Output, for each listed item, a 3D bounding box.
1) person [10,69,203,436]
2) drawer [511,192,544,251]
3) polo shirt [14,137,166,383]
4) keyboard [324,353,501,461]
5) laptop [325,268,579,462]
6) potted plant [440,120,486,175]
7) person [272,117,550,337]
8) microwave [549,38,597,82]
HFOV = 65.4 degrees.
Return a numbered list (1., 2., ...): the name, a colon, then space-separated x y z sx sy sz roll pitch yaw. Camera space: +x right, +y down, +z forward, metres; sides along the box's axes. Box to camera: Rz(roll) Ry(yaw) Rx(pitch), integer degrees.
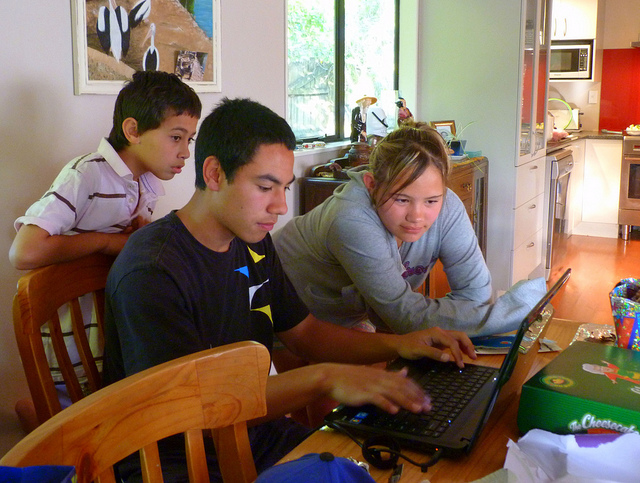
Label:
1. person: -0.892 0.092 1.850 0.430 1.458 0.629 22 18 22
2. drawer: 1.772 -0.176 4.270 0.130 0.480 0.494 14 21 32
3. polo shirt: -0.781 0.041 1.756 0.315 0.792 0.498 0 11 13
4. keyboard: 0.202 0.344 1.012 0.174 0.043 0.278 6 16 19
5. laptop: 0.290 0.221 1.088 0.531 0.286 0.514 -4 6 -32
6. potted plant: 1.070 -0.795 3.782 0.259 0.174 0.358 -11 10 3
7. person: 0.244 -0.047 1.824 0.592 0.682 1.183 -14 19 -30
8. microwave: 3.017 -2.169 6.009 0.478 0.446 0.284 13 19 39
